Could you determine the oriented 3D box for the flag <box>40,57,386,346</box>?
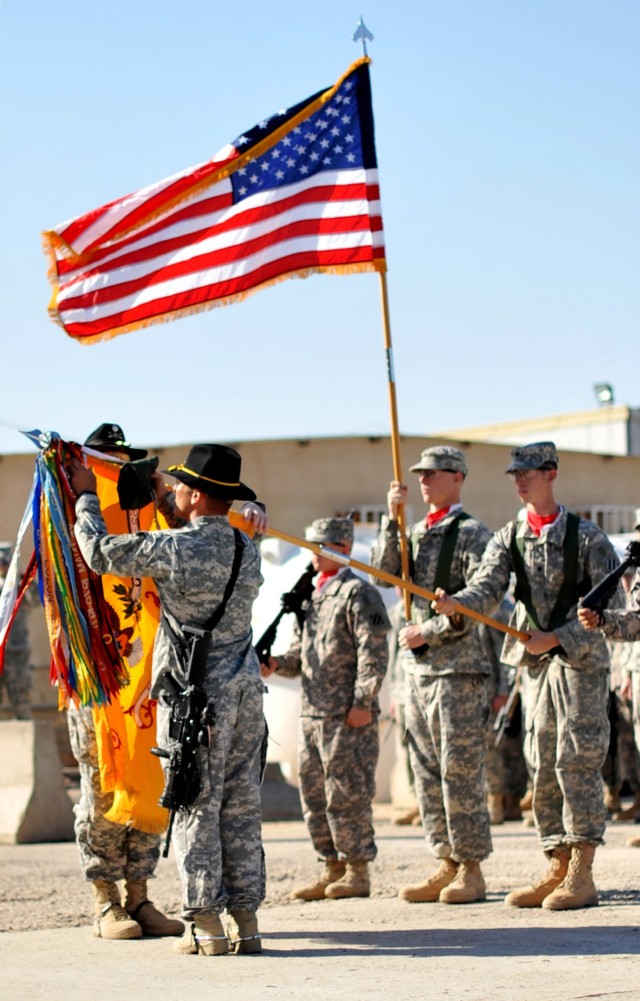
[{"bbox_3d":[-0.458,-1.303,9.648,2.211,1.502,0.292,-8,-8,12],"label":"flag"}]

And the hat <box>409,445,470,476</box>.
[{"bbox_3d":[0.602,-0.183,9.612,0.223,0.099,0.159,4,-6,-16],"label":"hat"}]

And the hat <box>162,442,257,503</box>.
[{"bbox_3d":[-0.434,-0.074,8.137,0.302,0.115,0.254,22,6,-24],"label":"hat"}]

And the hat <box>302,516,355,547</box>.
[{"bbox_3d":[0.073,0.170,10.367,0.211,0.115,0.150,-1,2,-6],"label":"hat"}]

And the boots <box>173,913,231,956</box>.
[{"bbox_3d":[-0.469,1.720,7.854,0.214,0.173,0.220,-2,-3,-2],"label":"boots"}]

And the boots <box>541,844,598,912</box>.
[{"bbox_3d":[1.131,1.706,8.926,0.311,0.280,0.126,-2,-4,-33],"label":"boots"}]

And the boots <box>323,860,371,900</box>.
[{"bbox_3d":[0.138,1.878,9.707,0.263,0.235,0.115,6,-9,-10],"label":"boots"}]

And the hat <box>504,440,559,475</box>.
[{"bbox_3d":[1.002,-0.196,9.259,0.206,0.095,0.158,-2,-7,-42],"label":"hat"}]

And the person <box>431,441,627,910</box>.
[{"bbox_3d":[1.063,0.777,9.096,0.710,2.139,0.599,-5,-4,38],"label":"person"}]

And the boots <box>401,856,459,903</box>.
[{"bbox_3d":[0.571,1.811,9.317,0.378,0.236,0.122,6,-3,-18],"label":"boots"}]

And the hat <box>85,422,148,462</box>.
[{"bbox_3d":[-0.871,-0.219,8.224,0.320,0.135,0.354,6,-9,-8],"label":"hat"}]

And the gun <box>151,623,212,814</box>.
[{"bbox_3d":[-0.545,0.891,7.927,0.234,0.727,0.246,-2,-3,-6],"label":"gun"}]
